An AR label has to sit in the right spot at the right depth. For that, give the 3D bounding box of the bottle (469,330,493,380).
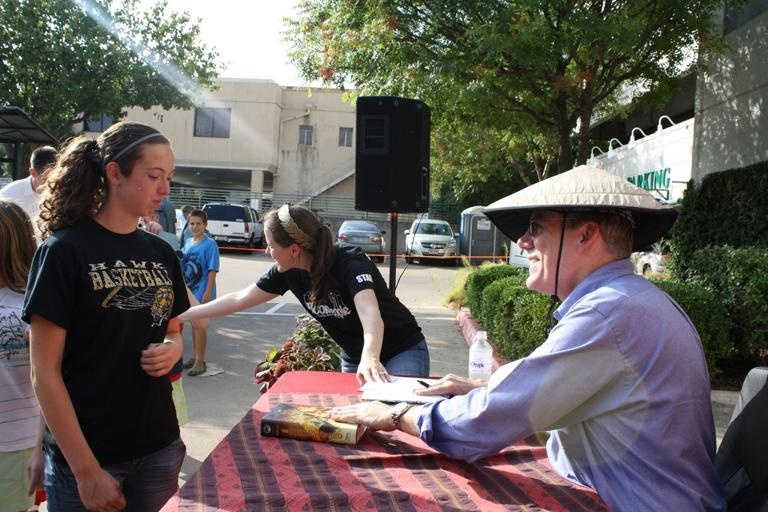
[{"bbox_3d":[0.647,0.702,4.305,0.143,0.441,0.154,-5,32,3],"label":"bottle"}]

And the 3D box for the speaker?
[{"bbox_3d":[0.116,-1.377,7.400,0.713,1.454,0.981,8,34,12],"label":"speaker"}]

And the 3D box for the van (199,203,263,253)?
[{"bbox_3d":[-5.614,-1.134,23.541,1.845,1.655,4.002,1,7,8],"label":"van"}]

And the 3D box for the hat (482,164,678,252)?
[{"bbox_3d":[1.124,-0.321,3.618,0.930,0.527,1.291,1,-8,24],"label":"hat"}]

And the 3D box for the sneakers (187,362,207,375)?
[{"bbox_3d":[-2.279,1.376,7.540,0.101,0.125,0.302,6,-12,11],"label":"sneakers"}]
